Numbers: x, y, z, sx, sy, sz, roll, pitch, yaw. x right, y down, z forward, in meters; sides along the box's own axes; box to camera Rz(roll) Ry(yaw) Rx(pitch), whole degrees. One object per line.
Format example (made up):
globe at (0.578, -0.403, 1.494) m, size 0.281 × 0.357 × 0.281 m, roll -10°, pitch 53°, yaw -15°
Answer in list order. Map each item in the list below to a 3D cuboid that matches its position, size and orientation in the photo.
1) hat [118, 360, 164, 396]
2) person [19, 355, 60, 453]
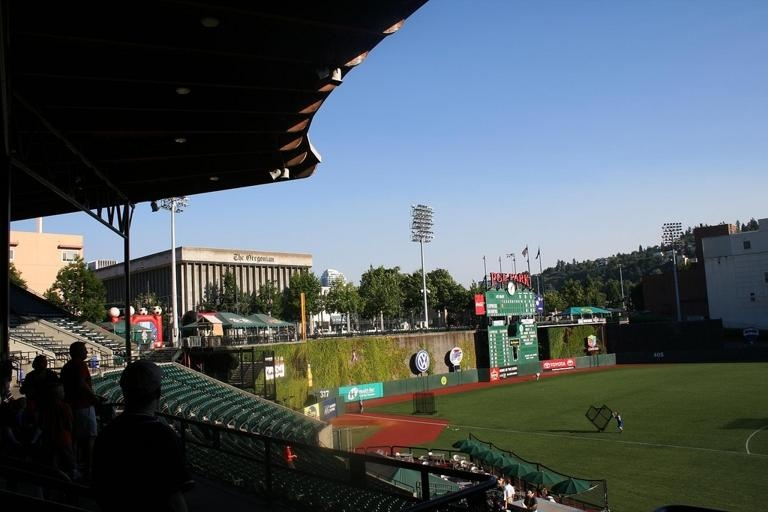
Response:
hat at (-4.001, 2.016, 10.759) m, size 0.501 × 0.391 × 0.692 m, roll 6°, pitch 20°, yaw -2°
person at (-7.652, 3.190, 14.452) m, size 0.547 × 1.956 × 1.342 m, roll 1°, pitch -4°, yaw -45°
